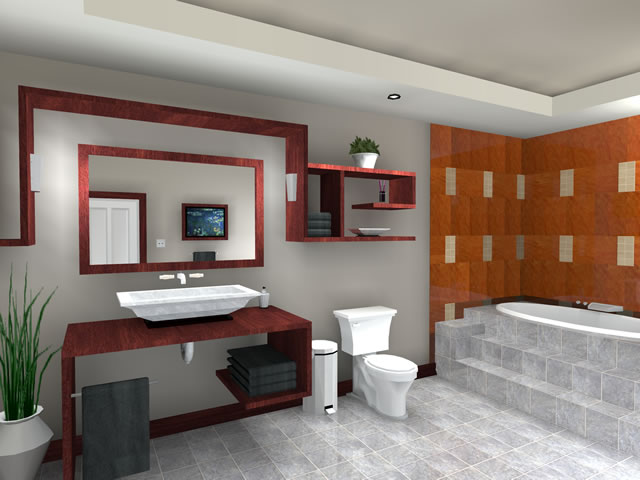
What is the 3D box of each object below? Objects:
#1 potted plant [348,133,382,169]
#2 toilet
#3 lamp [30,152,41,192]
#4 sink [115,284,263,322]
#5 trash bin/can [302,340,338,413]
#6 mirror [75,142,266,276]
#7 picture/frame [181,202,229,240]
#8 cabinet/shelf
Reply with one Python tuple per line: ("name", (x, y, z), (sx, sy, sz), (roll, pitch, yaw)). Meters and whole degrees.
("potted plant", (0.420, -0.848, 4.338), (0.354, 0.316, 0.342), (0, -2, 0))
("toilet", (0.571, 1.167, 4.172), (0.664, 0.855, 0.948), (0, 2, -29))
("lamp", (-2.061, -0.483, 3.141), (0.027, 0.259, 0.072), (3, 11, 21))
("sink", (-1.045, 0.504, 3.462), (1.009, 0.250, 0.514), (-4, 10, -21))
("trash bin/can", (0.003, 1.286, 4.044), (0.309, 0.623, 0.264), (-6, 11, -26))
("mirror", (-1.314, -0.261, 3.634), (1.276, 0.821, 0.028), (0, -2, -25))
("picture/frame", (-1.017, -0.164, 3.759), (0.354, 0.277, 0.033), (-1, 2, -24))
("cabinet/shelf", (0.321, -0.343, 4.265), (1.300, 0.802, 0.460), (-7, 11, -32))
